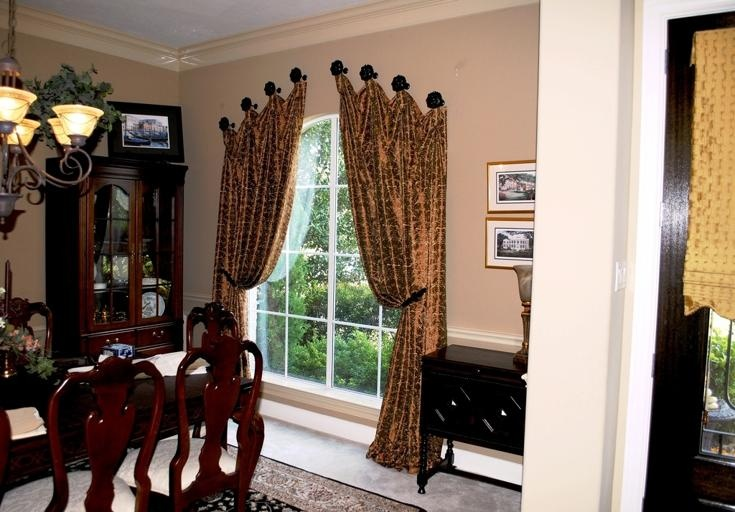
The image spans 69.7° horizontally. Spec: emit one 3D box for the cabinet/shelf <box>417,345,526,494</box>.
[{"bbox_3d":[0.762,1.248,4.021,0.734,1.071,0.593,4,12,6],"label":"cabinet/shelf"}]

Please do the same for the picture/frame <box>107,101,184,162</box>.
[{"bbox_3d":[-2.262,-1.246,5.352,0.758,0.598,0.056,1,-6,-39],"label":"picture/frame"}]

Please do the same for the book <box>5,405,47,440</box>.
[{"bbox_3d":[-1.881,0.916,2.919,0.158,0.059,0.318,-6,15,-37],"label":"book"}]

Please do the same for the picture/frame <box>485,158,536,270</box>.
[{"bbox_3d":[1.105,-0.321,4.155,0.406,0.865,0.202,6,12,16],"label":"picture/frame"}]
